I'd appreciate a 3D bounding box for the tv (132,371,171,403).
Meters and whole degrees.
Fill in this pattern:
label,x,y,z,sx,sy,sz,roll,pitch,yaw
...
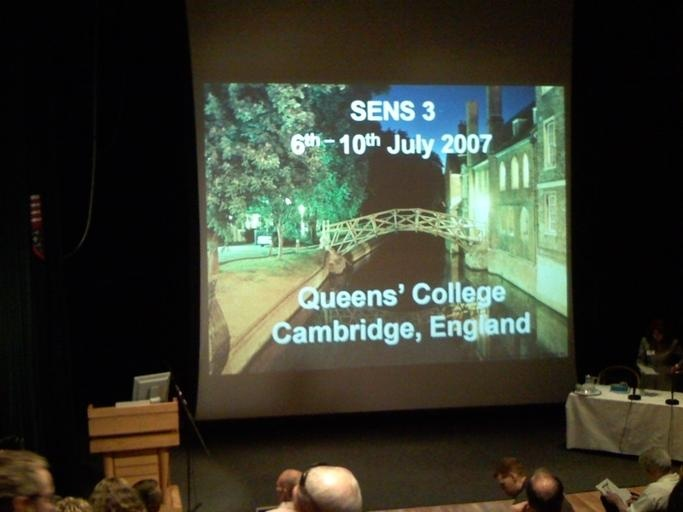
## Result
label,x,y,z,sx,sy,sz,roll,pitch,yaw
tv,-1.667,1.170,5.167,0.316,0.263,0.074,-5,8,-28
